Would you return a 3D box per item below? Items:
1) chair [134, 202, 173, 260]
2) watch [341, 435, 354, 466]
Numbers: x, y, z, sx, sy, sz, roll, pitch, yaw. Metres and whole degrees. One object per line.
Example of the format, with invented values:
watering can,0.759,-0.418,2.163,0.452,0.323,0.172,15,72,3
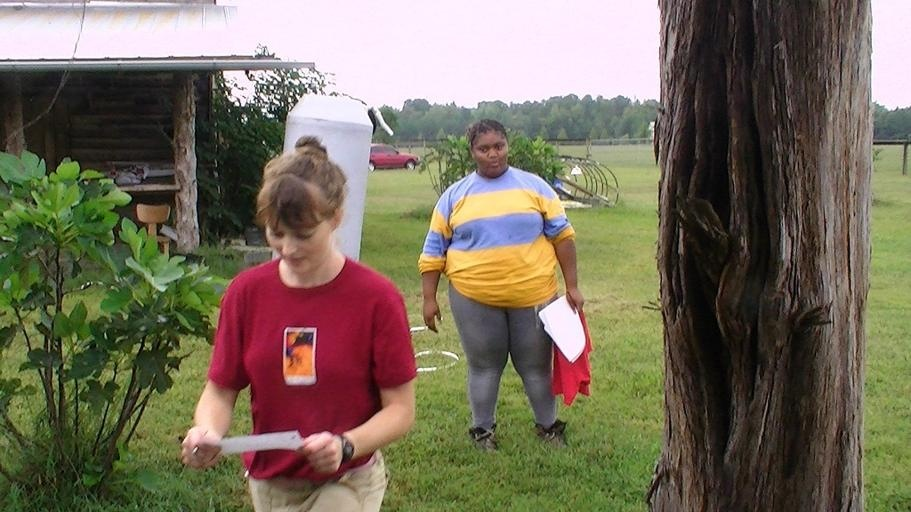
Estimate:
chair,-4.655,-0.426,10.828,0.409,0.755,1.009,-5,6,-23
watch,-0.568,1.021,3.656,0.087,0.100,0.113,7,-4,-4
